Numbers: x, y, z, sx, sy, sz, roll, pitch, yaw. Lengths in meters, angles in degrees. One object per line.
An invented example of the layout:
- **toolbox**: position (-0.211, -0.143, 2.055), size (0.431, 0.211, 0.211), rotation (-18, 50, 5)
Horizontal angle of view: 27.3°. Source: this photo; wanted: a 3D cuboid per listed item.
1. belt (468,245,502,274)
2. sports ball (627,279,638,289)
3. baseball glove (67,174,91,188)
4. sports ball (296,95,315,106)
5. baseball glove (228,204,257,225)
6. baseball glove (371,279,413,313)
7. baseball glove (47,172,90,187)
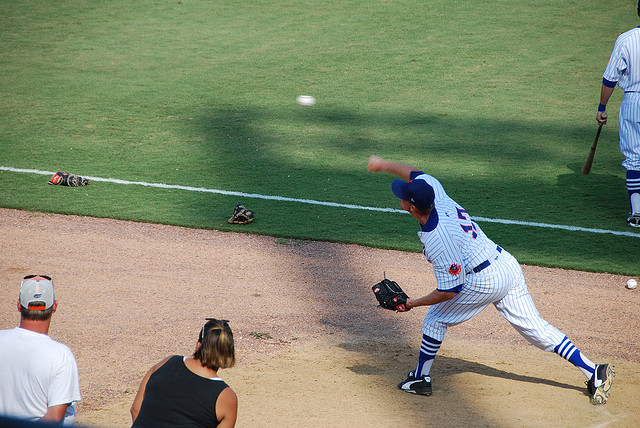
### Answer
- **belt**: position (2.400, 0.684, 19.375), size (0.431, 0.151, 0.302), rotation (-36, 2, -6)
- **sports ball**: position (5.080, 1.159, 21.579), size (0.175, 0.134, 0.147), rotation (-12, -40, 16)
- **baseball glove**: position (-4.308, -0.582, 23.420), size (0.257, 0.114, 0.317), rotation (6, -5, -35)
- **sports ball**: position (-0.318, -2.317, 26.583), size (0.391, 0.254, 0.310), rotation (0, -4, 14)
- **baseball glove**: position (-1.343, 0.011, 22.685), size (0.409, 0.135, 0.379), rotation (6, 11, 5)
- **baseball glove**: position (1.036, 1.218, 19.590), size (0.657, 0.230, 0.421), rotation (23, 13, -16)
- **baseball glove**: position (-4.450, -0.638, 23.454), size (0.528, 0.132, 0.299), rotation (5, 5, 4)
